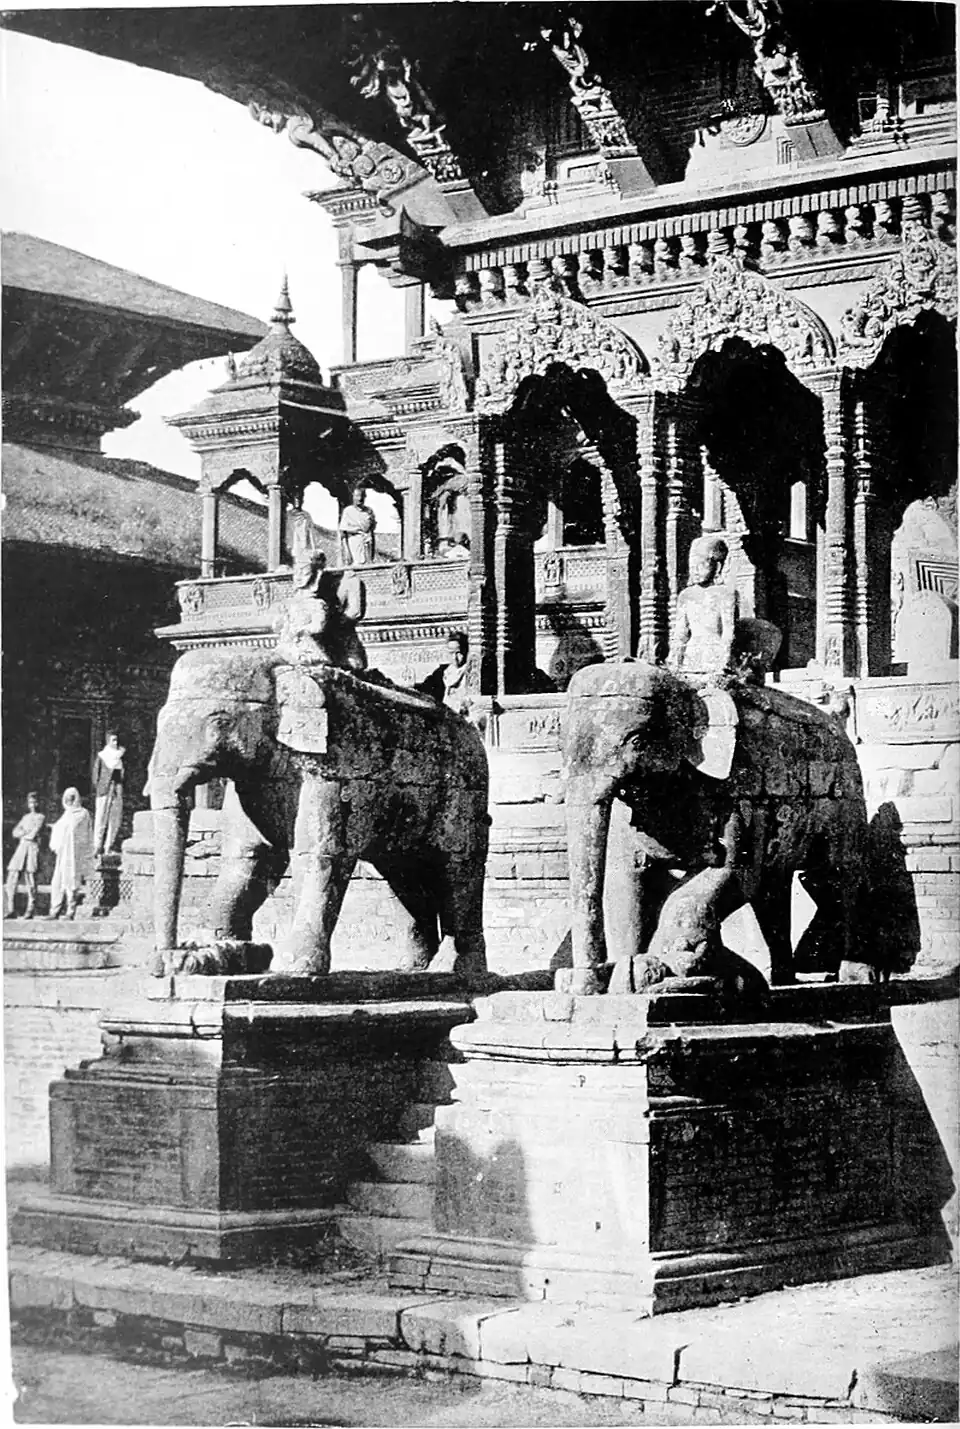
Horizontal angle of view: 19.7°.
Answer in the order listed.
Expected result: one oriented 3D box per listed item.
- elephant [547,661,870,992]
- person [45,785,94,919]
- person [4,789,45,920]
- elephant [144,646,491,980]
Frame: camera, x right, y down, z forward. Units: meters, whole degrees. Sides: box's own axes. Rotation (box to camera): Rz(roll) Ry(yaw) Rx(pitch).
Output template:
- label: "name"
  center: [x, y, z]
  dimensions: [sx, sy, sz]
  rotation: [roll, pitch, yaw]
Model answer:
- label: "elephant"
  center: [1.011, 0.486, 11.669]
  dimensions: [0.689, 1.322, 2.023]
  rotation: [1, -3, 30]
- label: "person"
  center: [-3.143, 1.057, 21.102]
  dimensions: [0.307, 0.970, 0.808]
  rotation: [2, -2, -8]
- label: "person"
  center: [-3.642, 1.105, 21.902]
  dimensions: [0.255, 0.952, 1.680]
  rotation: [2, -2, -10]
- label: "elephant"
  center: [-0.634, 0.501, 12.674]
  dimensions: [1.709, 1.744, 1.085]
  rotation: [16, -23, -32]
